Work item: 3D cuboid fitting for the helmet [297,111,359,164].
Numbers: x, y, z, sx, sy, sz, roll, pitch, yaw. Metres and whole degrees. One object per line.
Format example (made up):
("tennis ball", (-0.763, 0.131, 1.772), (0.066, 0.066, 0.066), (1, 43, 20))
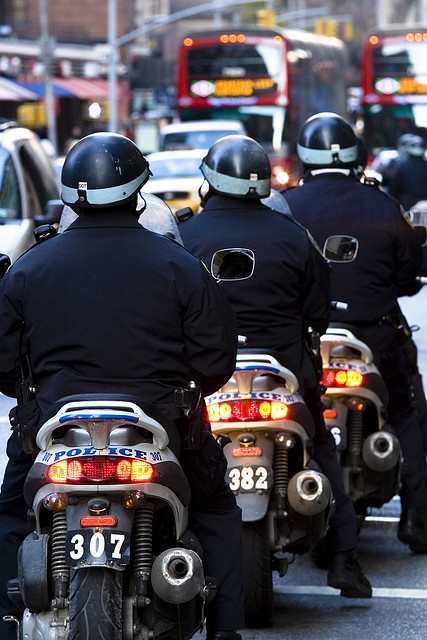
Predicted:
("helmet", (0.597, -0.959, 5.698), (0.334, 0.283, 0.355), (-7, 23, 6))

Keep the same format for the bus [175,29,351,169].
("bus", (1.356, -5.627, 27.133), (2.679, 3.340, 7.848), (0, 3, 10))

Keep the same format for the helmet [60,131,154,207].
("helmet", (-0.348, -0.511, 3.382), (0.283, 0.189, 0.355), (6, 28, 9))

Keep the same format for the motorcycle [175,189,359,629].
("motorcycle", (0.126, 0.124, 4.475), (0.872, 0.984, 1.640), (2, 49, 3))
